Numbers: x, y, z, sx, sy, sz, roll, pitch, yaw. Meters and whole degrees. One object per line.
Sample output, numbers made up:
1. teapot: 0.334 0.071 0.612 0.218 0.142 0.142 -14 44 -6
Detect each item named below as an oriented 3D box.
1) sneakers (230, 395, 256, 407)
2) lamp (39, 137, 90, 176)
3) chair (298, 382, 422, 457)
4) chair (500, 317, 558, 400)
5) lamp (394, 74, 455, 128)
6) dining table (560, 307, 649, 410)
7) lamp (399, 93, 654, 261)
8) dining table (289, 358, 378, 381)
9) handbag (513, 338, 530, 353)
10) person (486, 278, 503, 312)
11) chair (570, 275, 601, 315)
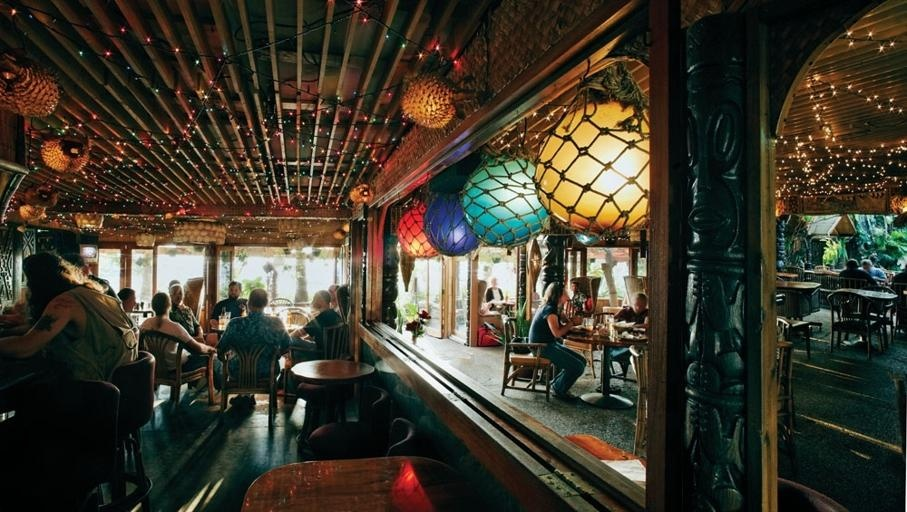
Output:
1. sneakers: -3.017 2.060 8.687 0.285 0.100 0.216 -3 -4 10
2. lamp: -4.301 -1.137 6.746 0.475 0.327 0.257 -2 -4 5
3. chair: -0.899 1.672 6.067 1.088 0.979 0.796 7 -12 -21
4. chair: 1.132 1.496 9.000 0.816 1.050 0.885 3 -1 23
5. lamp: -0.229 -1.403 5.567 0.504 0.432 0.460 6 10 21
6. dining table: 2.089 1.513 8.503 1.244 0.760 1.179 1 -5 -7
7. lamp: 0.616 -0.606 5.114 0.599 1.036 2.067 2 -5 -41
8. dining table: -1.427 1.363 7.218 0.934 0.192 0.683 -1 -4 -7
9. handbag: 0.993 1.405 9.453 0.322 0.269 0.340 2 -8 -13
10. person: 0.886 0.800 13.241 0.423 0.710 1.051 -2 -4 5
11. chair: 2.193 0.691 10.485 0.656 0.685 0.496 0 1 17
